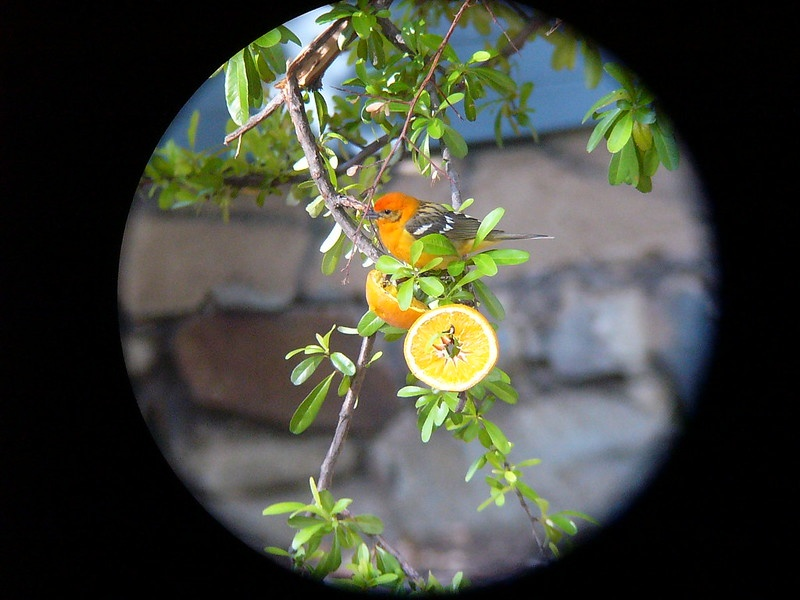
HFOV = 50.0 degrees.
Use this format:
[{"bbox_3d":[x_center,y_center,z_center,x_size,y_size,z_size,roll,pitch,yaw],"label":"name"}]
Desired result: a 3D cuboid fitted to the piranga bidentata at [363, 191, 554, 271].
[{"bbox_3d":[0.157,-0.201,2.526,0.548,0.166,0.242,-8,95,-17],"label":"piranga bidentata"}]
